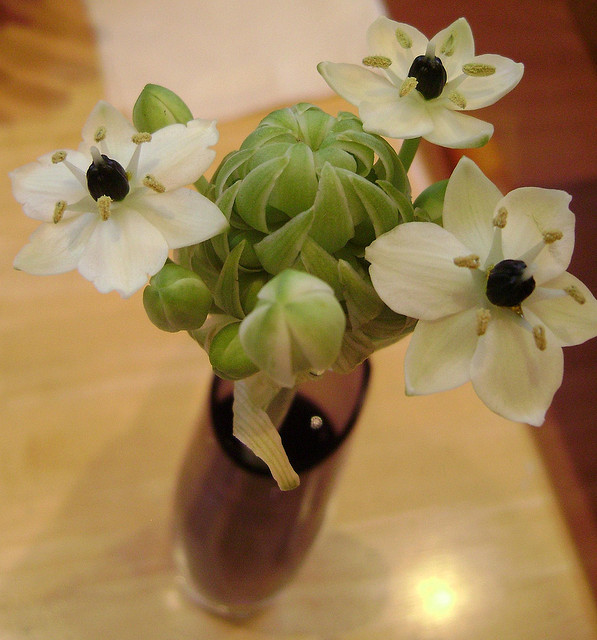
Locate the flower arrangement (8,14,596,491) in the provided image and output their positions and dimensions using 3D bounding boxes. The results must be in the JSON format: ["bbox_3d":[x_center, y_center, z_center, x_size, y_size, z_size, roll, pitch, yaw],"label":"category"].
[{"bbox_3d":[0.031,-0.058,0.670,0.420,0.424,0.320,-16,78,-9],"label":"flower arrangement"}]

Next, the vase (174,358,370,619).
[{"bbox_3d":[-0.022,0.188,0.773,0.185,0.256,0.172,22,43,-5],"label":"vase"}]
